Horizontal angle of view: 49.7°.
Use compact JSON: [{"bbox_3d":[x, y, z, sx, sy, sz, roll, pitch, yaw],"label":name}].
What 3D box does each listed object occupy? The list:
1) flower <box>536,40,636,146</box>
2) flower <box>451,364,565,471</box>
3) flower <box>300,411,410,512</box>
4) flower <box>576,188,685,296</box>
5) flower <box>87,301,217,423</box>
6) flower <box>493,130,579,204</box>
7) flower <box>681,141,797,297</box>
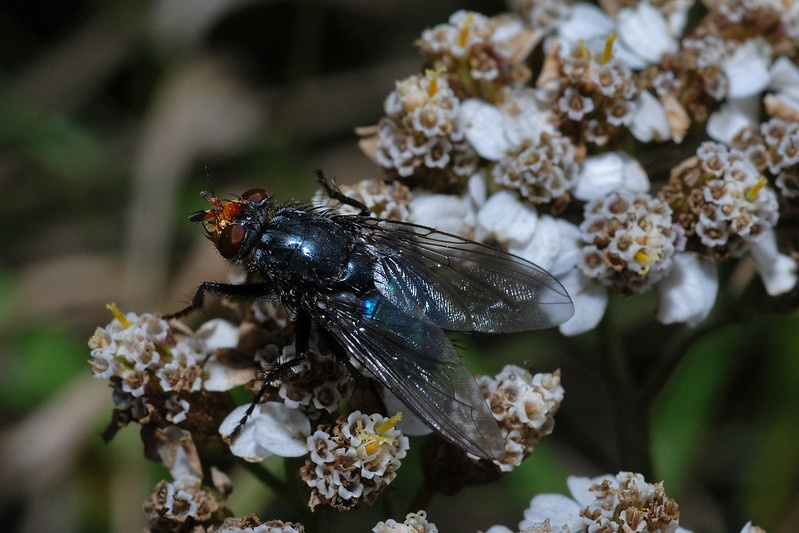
[{"bbox_3d":[0.628,-0.558,2.954,0.347,0.335,0.145,-61,3,-10],"label":"flower"},{"bbox_3d":[0.356,0.461,2.647,0.327,0.257,0.190,-13,19,5],"label":"flower"},{"bbox_3d":[-0.132,0.563,2.552,0.294,0.269,0.127,-28,5,-18],"label":"flower"},{"bbox_3d":[0.728,-0.068,2.756,0.308,0.311,0.145,-9,20,18],"label":"flower"},{"bbox_3d":[-0.745,0.308,2.643,0.350,0.344,0.202,-53,2,-24],"label":"flower"},{"bbox_3d":[0.460,-0.322,2.869,0.242,0.243,0.106,-43,-3,-4],"label":"flower"},{"bbox_3d":[1.095,-0.143,2.801,0.344,0.532,0.218,-8,20,19],"label":"flower"}]
